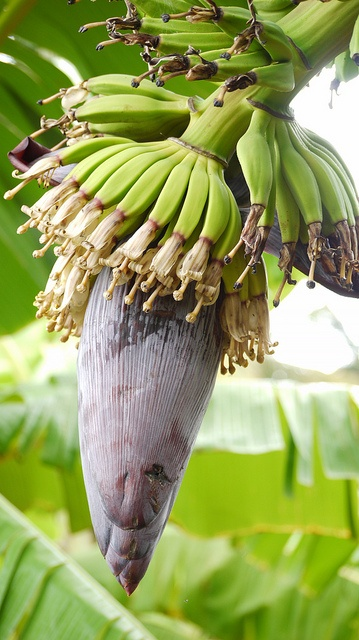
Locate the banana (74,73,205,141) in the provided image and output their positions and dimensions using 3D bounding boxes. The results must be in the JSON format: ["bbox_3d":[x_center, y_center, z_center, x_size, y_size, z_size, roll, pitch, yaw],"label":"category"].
[{"bbox_3d":[-0.045,-0.229,0.612,0.124,0.056,0.041,-8,-17,-23],"label":"banana"}]

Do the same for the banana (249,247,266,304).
[{"bbox_3d":[0.081,-0.049,0.605,0.020,0.058,0.016,21,-36,-23],"label":"banana"}]

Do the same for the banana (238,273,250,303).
[{"bbox_3d":[0.069,-0.034,0.603,0.007,0.031,0.008,11,-13,-4],"label":"banana"}]

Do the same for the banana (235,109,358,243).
[{"bbox_3d":[0.110,-0.141,0.552,0.113,0.160,0.057,-11,4,-11],"label":"banana"}]

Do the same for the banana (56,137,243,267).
[{"bbox_3d":[-0.012,-0.122,0.582,0.172,0.058,0.208,-17,-15,-20],"label":"banana"}]
